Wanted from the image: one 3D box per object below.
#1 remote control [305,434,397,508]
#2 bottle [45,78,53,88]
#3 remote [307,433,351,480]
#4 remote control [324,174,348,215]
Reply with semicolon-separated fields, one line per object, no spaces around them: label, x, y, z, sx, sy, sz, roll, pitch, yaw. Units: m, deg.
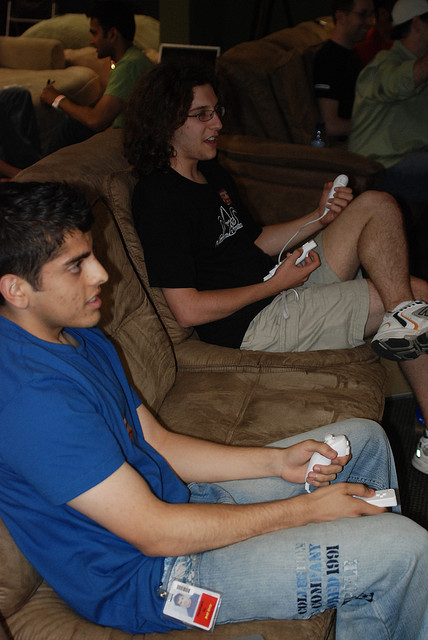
remote control;0.246;0.255;0.900;0.130;0.119;0.050;-8;-2;36
bottle;-0.764;-1.083;2.349;0.014;0.040;0.041;7;39;30
remote;0.203;0.242;0.921;0.075;0.032;0.071;-18;69;24
remote control;0.442;-0.454;1.837;0.047;0.186;0.047;24;21;8
